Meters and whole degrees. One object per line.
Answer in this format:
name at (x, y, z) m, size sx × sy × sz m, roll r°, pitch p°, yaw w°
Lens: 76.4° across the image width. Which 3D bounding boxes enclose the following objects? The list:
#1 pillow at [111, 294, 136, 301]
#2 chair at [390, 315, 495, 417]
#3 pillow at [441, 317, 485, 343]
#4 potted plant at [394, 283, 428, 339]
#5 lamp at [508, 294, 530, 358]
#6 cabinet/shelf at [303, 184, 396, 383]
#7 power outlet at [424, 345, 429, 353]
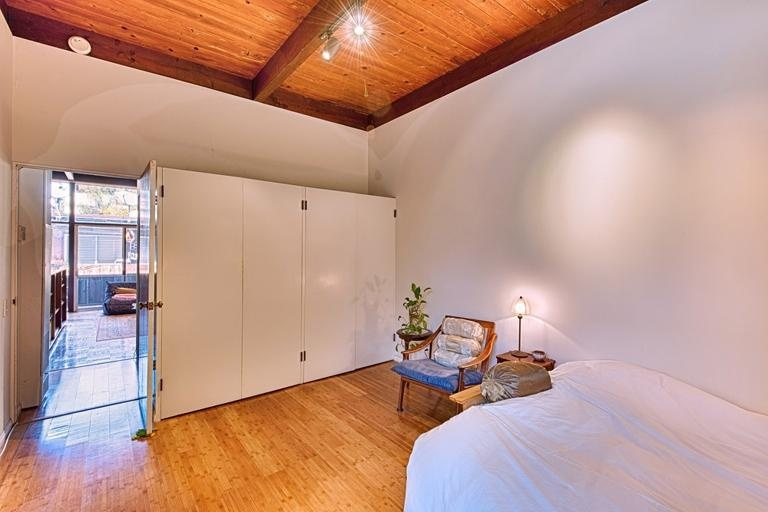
pillow at (-5.407, 0.846, 10.127) m, size 0.446 × 0.126 × 0.429 m, roll 0°, pitch 4°, yaw -31°
chair at (0.715, 1.263, 5.566) m, size 1.175 × 1.006 × 1.154 m, roll -2°, pitch 8°, yaw -1°
pillow at (0.900, 0.836, 5.680) m, size 0.592 × 0.237 × 0.209 m, roll -2°, pitch -20°, yaw 45°
potted plant at (0.373, 0.715, 6.387) m, size 0.367 × 0.532 × 0.391 m, roll 3°, pitch -17°, yaw 37°
lamp at (1.480, 0.761, 5.324) m, size 0.190 × 0.630 × 0.356 m, roll 3°, pitch 4°, yaw 15°
cabinet/shelf at (-0.561, 0.418, 6.785) m, size 1.390 × 2.318 × 0.800 m, roll 3°, pitch -6°, yaw -27°
power outlet at (0.549, 1.247, 6.460) m, size 0.046 × 0.079 × 0.056 m, roll -4°, pitch -10°, yaw 33°
